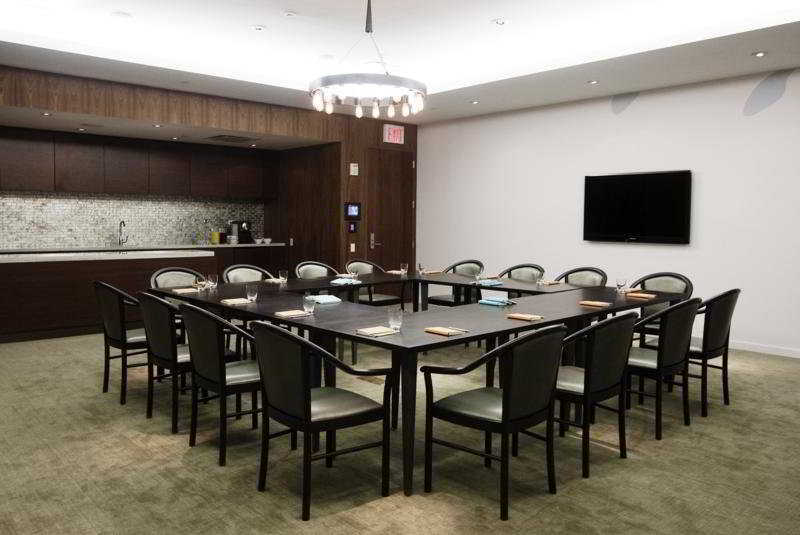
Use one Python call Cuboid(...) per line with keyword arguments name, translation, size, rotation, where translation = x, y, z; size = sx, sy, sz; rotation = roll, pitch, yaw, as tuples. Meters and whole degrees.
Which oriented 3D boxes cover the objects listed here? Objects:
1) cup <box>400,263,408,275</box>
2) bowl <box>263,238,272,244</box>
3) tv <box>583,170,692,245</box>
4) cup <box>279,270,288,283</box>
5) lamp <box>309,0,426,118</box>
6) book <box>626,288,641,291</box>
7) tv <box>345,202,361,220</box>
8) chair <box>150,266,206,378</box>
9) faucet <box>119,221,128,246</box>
Cuboid(name="cup", translation=(0.063, 0.006, 7.362), size=(0.143, 0.165, 0.150), rotation=(0, 0, 0))
Cuboid(name="bowl", translation=(-2.544, -0.513, 10.712), size=(0.124, 0.070, 0.123), rotation=(0, 0, 0))
Cuboid(name="tv", translation=(3.456, -0.900, 8.149), size=(1.450, 1.025, 0.331), rotation=(6, 13, 28))
Cuboid(name="cup", translation=(-1.303, 0.094, 6.255), size=(0.124, 0.148, 0.132), rotation=(1, -1, 0))
Cuboid(name="lamp", translation=(-0.499, -2.436, 6.892), size=(1.226, 1.216, 2.760), rotation=(-1, 11, -9))
Cuboid(name="book", translation=(2.605, 0.243, 6.208), size=(0.098, 0.021, 0.094), rotation=(-3, 3, -37))
Cuboid(name="tv", translation=(-0.837, -1.003, 9.792), size=(0.328, 0.318, 0.163), rotation=(0, 0, -40))
Cuboid(name="chair", translation=(-2.546, 0.406, 6.284), size=(0.765, 0.939, 0.692), rotation=(0, 2, -41))
Cuboid(name="faucet", translation=(-4.713, -0.601, 9.461), size=(0.115, 0.420, 0.198), rotation=(2, 12, 9))
